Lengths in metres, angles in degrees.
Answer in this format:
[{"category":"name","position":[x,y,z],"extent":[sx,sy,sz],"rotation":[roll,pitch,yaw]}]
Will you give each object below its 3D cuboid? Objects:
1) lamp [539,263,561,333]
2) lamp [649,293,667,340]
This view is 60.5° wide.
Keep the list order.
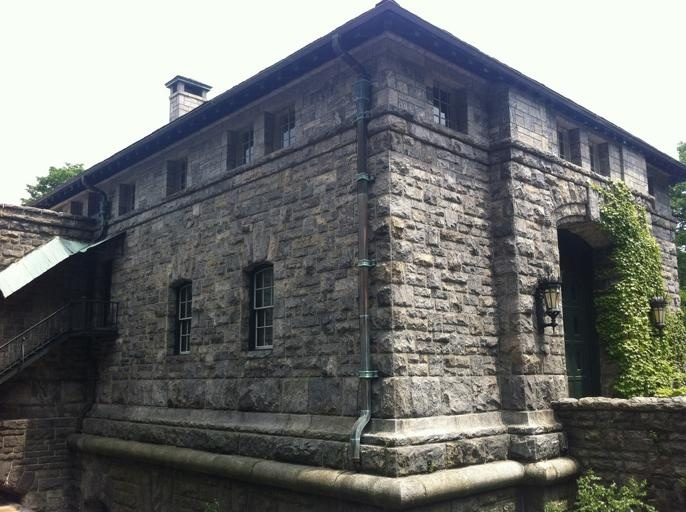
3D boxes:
[{"category":"lamp","position":[4.323,0.904,12.162],"extent":[0.457,1.408,0.463],"rotation":[10,-12,-42]},{"category":"lamp","position":[7.808,1.467,14.503],"extent":[0.441,0.888,0.664],"rotation":[-12,-28,22]}]
